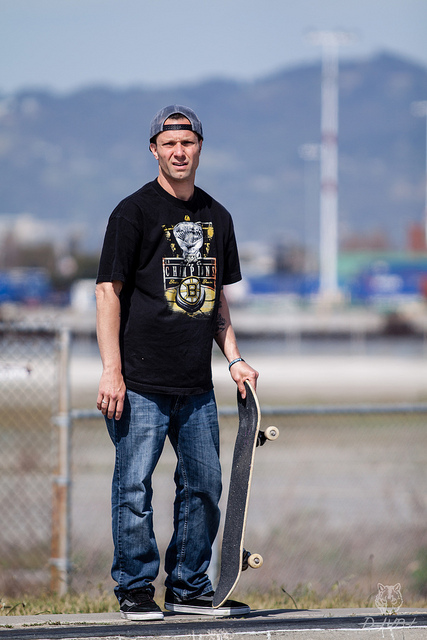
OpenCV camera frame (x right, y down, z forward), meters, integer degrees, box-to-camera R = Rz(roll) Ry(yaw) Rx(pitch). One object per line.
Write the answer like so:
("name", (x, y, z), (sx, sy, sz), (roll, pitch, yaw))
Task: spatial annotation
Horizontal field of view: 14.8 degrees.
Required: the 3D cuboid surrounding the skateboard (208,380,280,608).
("skateboard", (0.194, 0.803, 8.064), (0.164, 1.270, 0.277), (7, -1, -23))
